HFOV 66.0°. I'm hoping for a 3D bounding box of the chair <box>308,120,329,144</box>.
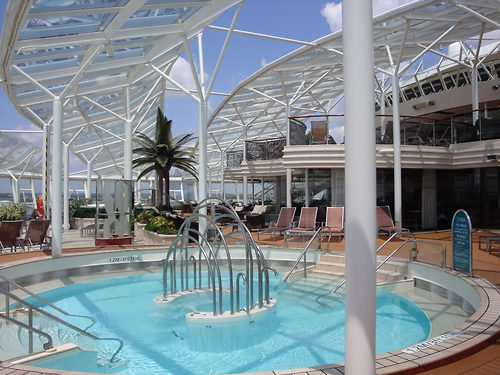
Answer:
[{"bbox_3d":[2.947,-2.498,17.430,0.961,1.118,0.722,-9,6,-44],"label":"chair"}]
